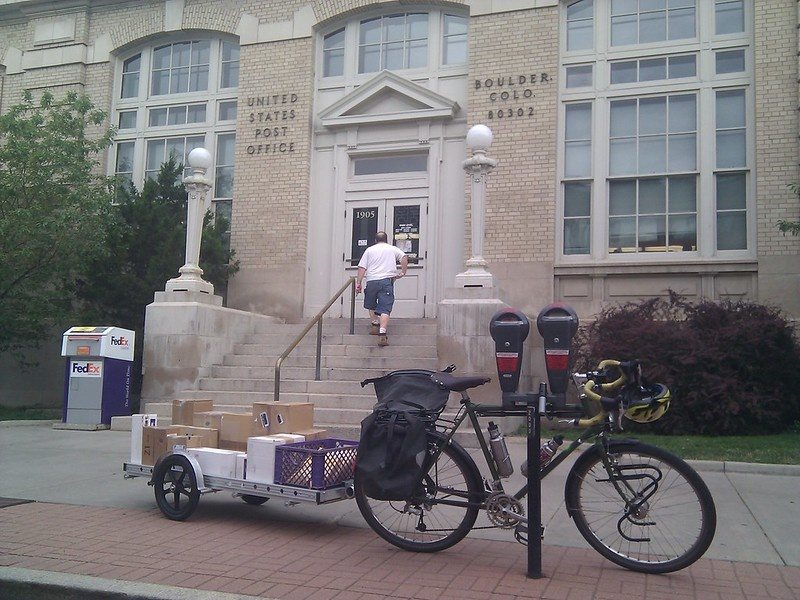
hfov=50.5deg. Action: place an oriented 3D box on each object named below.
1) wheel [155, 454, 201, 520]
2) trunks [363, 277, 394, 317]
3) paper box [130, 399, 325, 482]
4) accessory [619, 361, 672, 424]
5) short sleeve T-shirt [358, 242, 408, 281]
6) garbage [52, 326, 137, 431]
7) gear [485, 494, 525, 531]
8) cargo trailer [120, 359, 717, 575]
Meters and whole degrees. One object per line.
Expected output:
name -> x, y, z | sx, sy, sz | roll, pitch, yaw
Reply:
wheel -> -2.395, 2.002, 9.178 | 0.606, 0.652, 0.115 | -8, -11, 31
trunks -> -0.375, -0.118, 14.985 | 0.508, 0.493, 0.292 | 16, 0, 25
paper box -> -2.029, 1.496, 9.552 | 1.662, 0.654, 1.066 | 0, -3, 24
accessory -> 2.359, 0.881, 8.084 | 0.375, 0.630, 0.422 | 5, 8, 43
short sleeve T-shirt -> -0.313, -0.623, 15.187 | 0.877, 0.734, 0.454 | -1, -21, -5
garbage -> -5.153, 1.301, 14.493 | 1.119, 1.707, 1.121 | 4, -8, -13
gear -> 0.999, 2.001, 8.062 | 0.442, 0.410, 0.075 | 4, -1, 10
cargo trailer -> -0.370, 1.710, 9.804 | 8.543, 2.862, 2.080 | -2, -1, 18
